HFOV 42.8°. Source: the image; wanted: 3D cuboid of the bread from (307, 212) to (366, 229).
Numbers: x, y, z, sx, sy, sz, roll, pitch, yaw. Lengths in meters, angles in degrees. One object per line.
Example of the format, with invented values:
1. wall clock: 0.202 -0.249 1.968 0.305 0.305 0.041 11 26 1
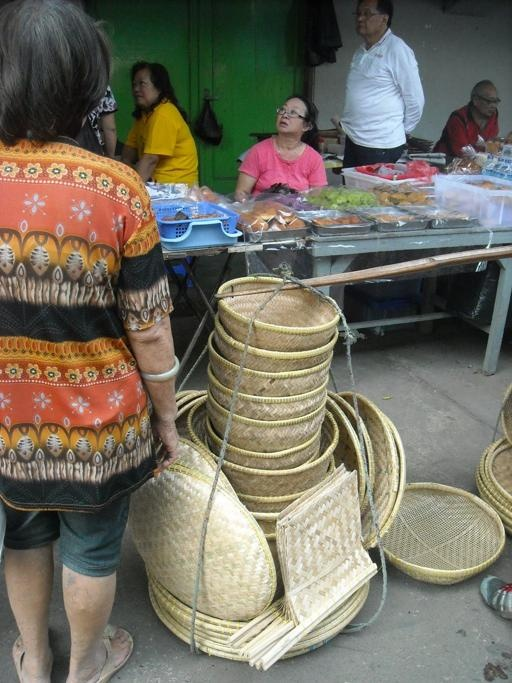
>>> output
1. bread: 0.392 -0.565 3.077 0.191 0.034 0.124 -5 19 -21

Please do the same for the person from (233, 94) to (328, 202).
1. person: 0.156 -1.007 3.866 0.568 0.751 0.464 0 30 -12

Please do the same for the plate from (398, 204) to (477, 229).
1. plate: 0.908 -0.638 3.296 0.226 0.047 0.197 0 24 -22

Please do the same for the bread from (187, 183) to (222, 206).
1. bread: -0.263 -0.739 3.303 0.148 0.058 0.147 6 19 -9

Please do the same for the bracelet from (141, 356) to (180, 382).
1. bracelet: -0.204 0.058 1.401 0.062 0.014 0.059 -19 16 -18

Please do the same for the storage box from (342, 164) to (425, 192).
1. storage box: 0.734 -0.959 3.825 0.348 0.108 0.261 -13 28 -23

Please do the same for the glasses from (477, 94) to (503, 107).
1. glasses: 2.158 -2.209 6.009 0.241 0.086 0.104 -16 29 -34

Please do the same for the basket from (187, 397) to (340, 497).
1. basket: 0.076 0.327 1.904 0.330 0.105 0.294 -8 25 -18

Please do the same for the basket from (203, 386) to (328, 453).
1. basket: 0.044 0.201 1.827 0.215 0.073 0.195 -4 21 -22

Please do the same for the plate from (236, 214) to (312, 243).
1. plate: 0.091 -0.515 3.007 0.314 0.094 0.229 -5 24 -13

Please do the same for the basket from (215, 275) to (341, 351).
1. basket: 0.064 -0.028 1.908 0.286 0.107 0.275 24 30 28
